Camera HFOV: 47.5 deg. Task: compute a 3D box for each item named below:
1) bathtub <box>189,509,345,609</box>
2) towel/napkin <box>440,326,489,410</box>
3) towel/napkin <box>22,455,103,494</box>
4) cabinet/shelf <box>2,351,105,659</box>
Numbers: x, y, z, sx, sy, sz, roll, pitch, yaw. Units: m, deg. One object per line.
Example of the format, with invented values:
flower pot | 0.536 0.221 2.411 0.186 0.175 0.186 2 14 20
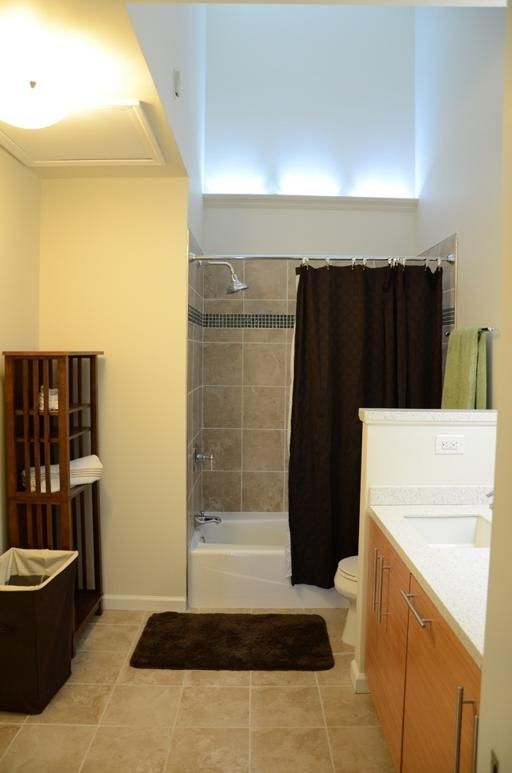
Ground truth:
bathtub | 0.045 0.940 3.258 0.783 0.313 0.718 1 4 -1
towel/napkin | 0.923 -0.077 2.543 0.081 0.489 0.296 4 -4 -12
towel/napkin | -0.835 0.379 2.511 0.328 0.124 0.211 -1 4 -29
cabinet/shelf | -0.899 0.476 2.630 0.403 1.268 0.601 0 3 -9
